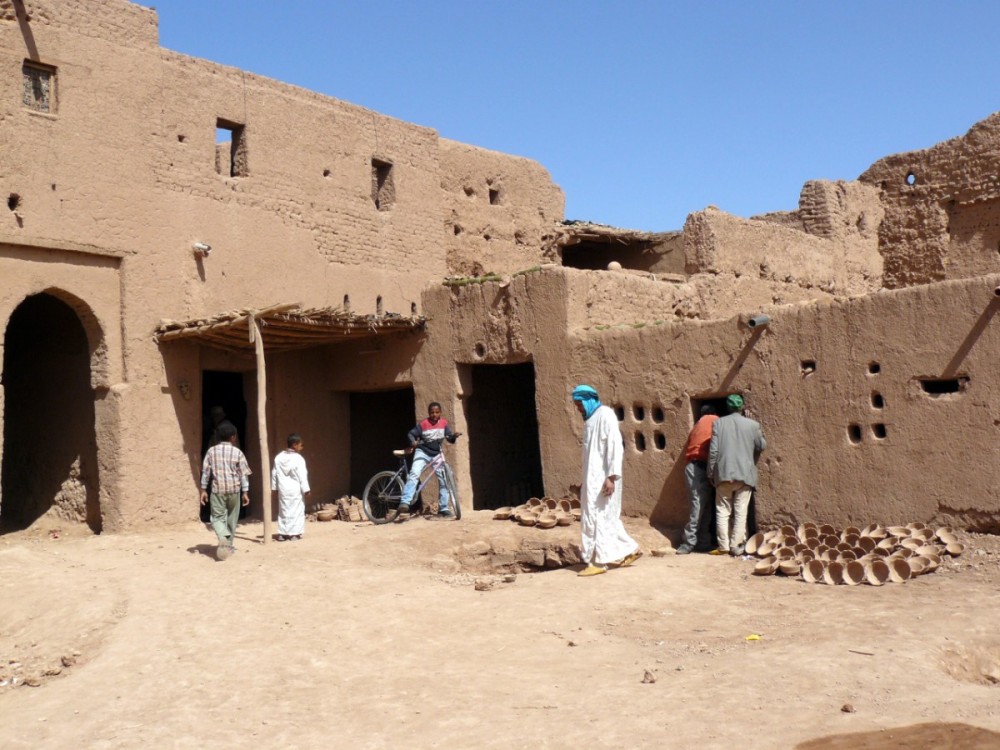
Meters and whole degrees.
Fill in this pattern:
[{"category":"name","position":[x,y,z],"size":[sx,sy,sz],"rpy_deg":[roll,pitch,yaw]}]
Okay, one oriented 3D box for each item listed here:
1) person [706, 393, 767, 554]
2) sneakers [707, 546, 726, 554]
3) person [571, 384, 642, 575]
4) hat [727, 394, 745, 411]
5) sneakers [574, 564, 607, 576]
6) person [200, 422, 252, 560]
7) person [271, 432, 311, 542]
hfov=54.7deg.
[{"category":"person","position":[2.533,1.025,10.307],"size":[0.502,1.623,0.714],"rpy_deg":[1,9,38]},{"category":"sneakers","position":[2.294,1.861,10.258],"size":[0.058,0.104,0.174],"rpy_deg":[-3,9,-38]},{"category":"person","position":[1.040,1.058,9.814],"size":[0.546,1.912,0.347],"rpy_deg":[-4,7,5]},{"category":"hat","position":[2.522,0.298,10.370],"size":[0.164,0.163,0.199],"rpy_deg":[-2,-17,12]},{"category":"sneakers","position":[0.940,1.984,9.901],"size":[0.224,0.085,0.128],"rpy_deg":[0,-1,-7]},{"category":"person","position":[-3.309,1.383,11.697],"size":[0.580,1.529,1.090],"rpy_deg":[-7,8,-17]},{"category":"person","position":[-2.737,1.428,12.603],"size":[0.448,1.347,0.595],"rpy_deg":[-7,8,-14]}]
